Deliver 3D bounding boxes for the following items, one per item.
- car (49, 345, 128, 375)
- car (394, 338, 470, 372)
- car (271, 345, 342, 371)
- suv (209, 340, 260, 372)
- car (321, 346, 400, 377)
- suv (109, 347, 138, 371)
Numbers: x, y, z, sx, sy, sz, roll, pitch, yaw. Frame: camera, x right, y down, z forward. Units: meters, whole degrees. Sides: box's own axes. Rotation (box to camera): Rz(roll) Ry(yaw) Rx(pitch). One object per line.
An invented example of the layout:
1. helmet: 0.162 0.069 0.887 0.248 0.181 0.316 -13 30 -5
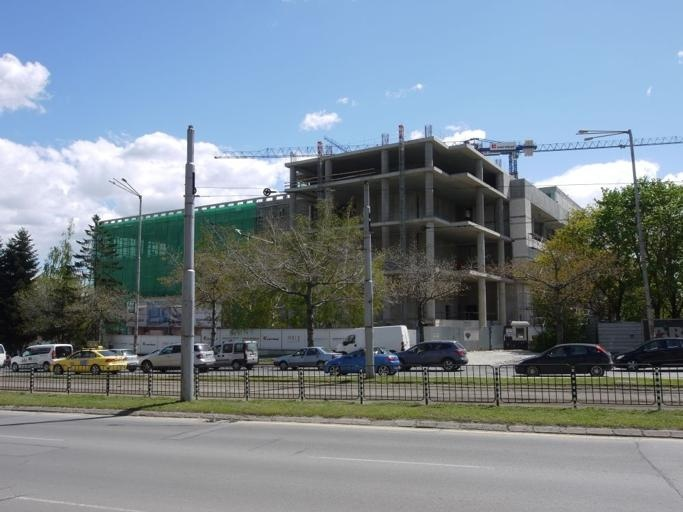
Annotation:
1. car: -14.796 6.033 48.538 3.487 1.297 1.658 1 -6 15
2. car: 4.939 5.291 44.949 3.508 1.500 1.040 -4 -9 18
3. car: -1.682 5.929 48.949 2.979 1.324 3.800 -6 -8 38
4. suv: -6.362 5.856 50.355 2.763 1.698 1.683 -5 -10 27
5. car: 1.002 5.324 42.631 3.479 1.262 1.680 0 -9 15
6. suv: -13.139 6.113 49.957 1.934 0.757 0.922 0 -3 29
